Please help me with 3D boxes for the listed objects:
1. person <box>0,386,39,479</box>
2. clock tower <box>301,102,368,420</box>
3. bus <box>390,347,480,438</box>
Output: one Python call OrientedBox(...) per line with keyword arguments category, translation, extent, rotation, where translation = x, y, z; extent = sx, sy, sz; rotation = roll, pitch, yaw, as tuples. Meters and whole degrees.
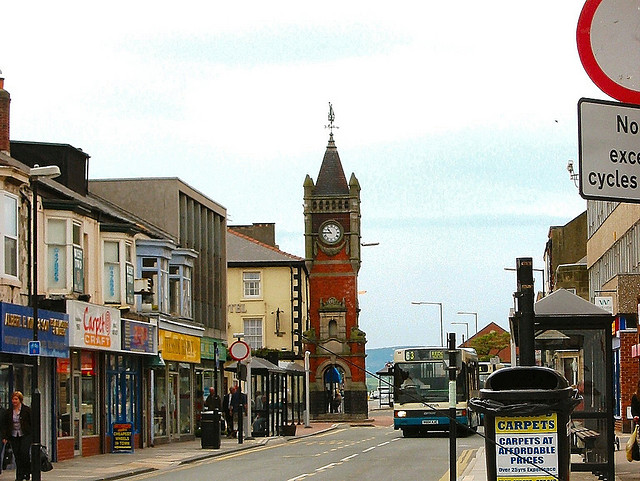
OrientedBox(category="person", translation=(-7.891, 5.201, 46.728), extent=(0.933, 2.284, 1.372), rotation=(0, -11, -11))
OrientedBox(category="clock tower", translation=(0.778, 2.316, 98.314), extent=(3.046, 16.197, 6.922), rotation=(-2, -11, 1))
OrientedBox(category="bus", translation=(3.883, 5.401, 62.996), extent=(2.555, 3.212, 7.131), rotation=(-1, -7, 9))
